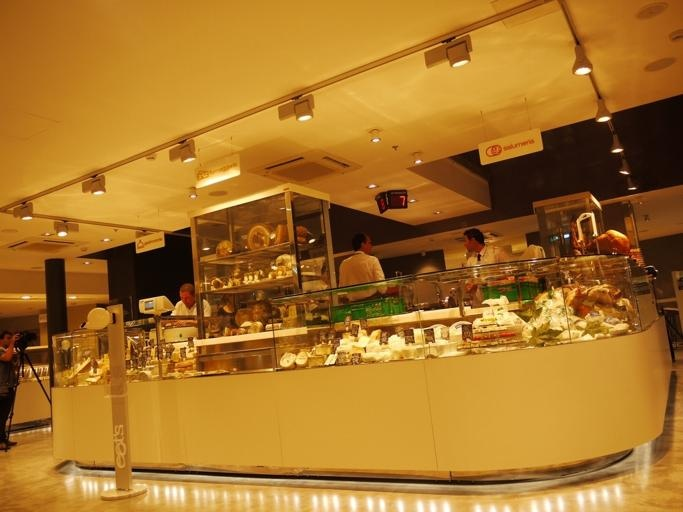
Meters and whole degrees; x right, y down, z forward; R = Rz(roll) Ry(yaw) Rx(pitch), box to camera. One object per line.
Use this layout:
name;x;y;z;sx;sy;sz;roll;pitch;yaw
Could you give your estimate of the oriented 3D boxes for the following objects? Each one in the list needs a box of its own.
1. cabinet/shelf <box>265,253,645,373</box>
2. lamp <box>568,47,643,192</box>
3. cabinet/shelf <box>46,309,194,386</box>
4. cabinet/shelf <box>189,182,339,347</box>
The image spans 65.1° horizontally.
cabinet/shelf;0.862;0.504;4.711;2.950;0.756;0.428;-8;-3;11
lamp;4.116;-2.007;8.202;0.386;0.370;2.285;-17;-54;36
cabinet/shelf;-2.598;1.151;6.599;2.316;0.755;0.674;-9;-3;32
cabinet/shelf;-1.025;0.137;6.731;2.234;1.941;0.896;-5;-3;31
